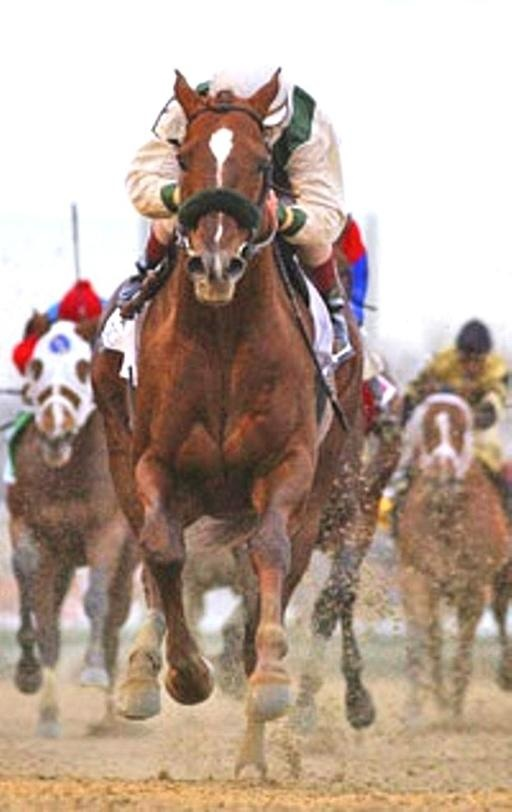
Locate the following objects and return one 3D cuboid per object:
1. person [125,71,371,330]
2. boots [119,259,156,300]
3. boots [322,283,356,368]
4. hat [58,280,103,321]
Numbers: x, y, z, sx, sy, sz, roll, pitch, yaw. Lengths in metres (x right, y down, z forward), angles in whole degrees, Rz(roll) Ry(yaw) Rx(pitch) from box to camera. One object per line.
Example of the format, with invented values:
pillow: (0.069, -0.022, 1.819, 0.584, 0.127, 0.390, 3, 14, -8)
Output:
person: (-0.007, -0.431, 2.759, 0.483, 0.782, 0.310, 1, 22, 4)
boots: (-0.296, -0.305, 2.918, 0.030, 0.125, 0.076, 20, 24, -38)
boots: (0.224, -0.200, 3.073, 0.141, 0.190, 0.075, 4, 3, -2)
hat: (-0.677, -0.406, 4.721, 0.194, 0.185, 0.274, 1, 6, 1)
